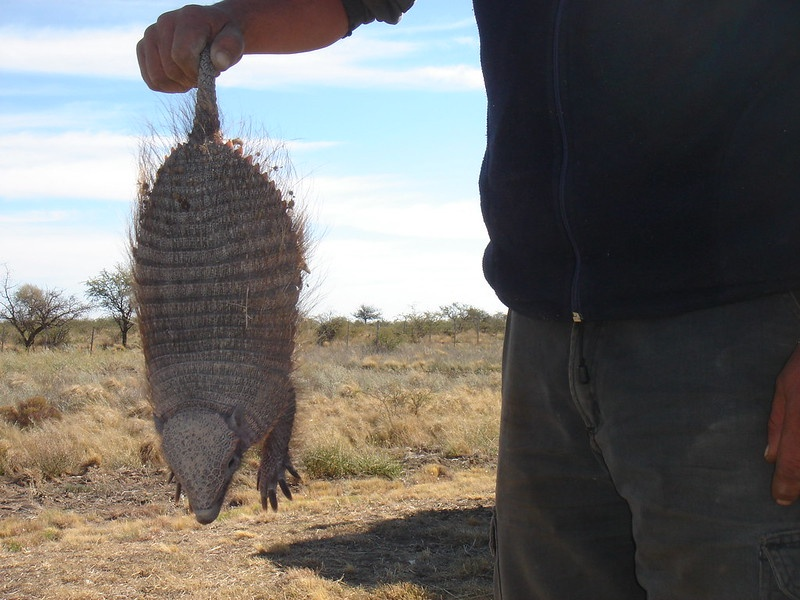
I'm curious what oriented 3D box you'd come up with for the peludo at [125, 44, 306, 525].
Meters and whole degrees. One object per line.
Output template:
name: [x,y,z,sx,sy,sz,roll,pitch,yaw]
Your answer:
peludo: [-0.627,0.022,5.238,0.819,2.323,0.867,-2,10,7]
